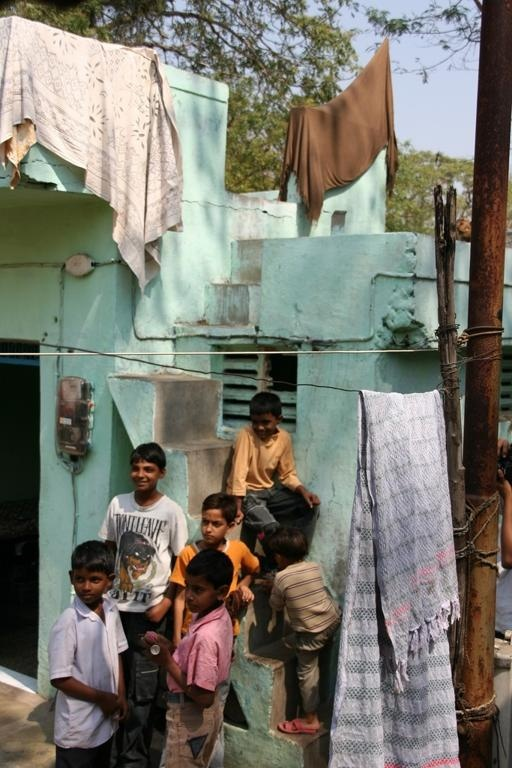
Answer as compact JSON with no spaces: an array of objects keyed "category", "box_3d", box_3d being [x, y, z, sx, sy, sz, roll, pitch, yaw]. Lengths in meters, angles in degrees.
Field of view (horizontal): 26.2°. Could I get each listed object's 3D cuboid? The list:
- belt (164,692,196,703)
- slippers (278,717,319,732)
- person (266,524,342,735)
[{"category":"belt","box_3d":[-0.371,1.471,5.222,0.078,0.045,0.107,-1,-9,20]},{"category":"slippers","box_3d":[0.239,1.936,6.288,0.178,0.069,0.100,3,-6,4]},{"category":"person","box_3d":[0.286,1.387,6.279,0.428,1.183,0.272,0,1,-17]}]
